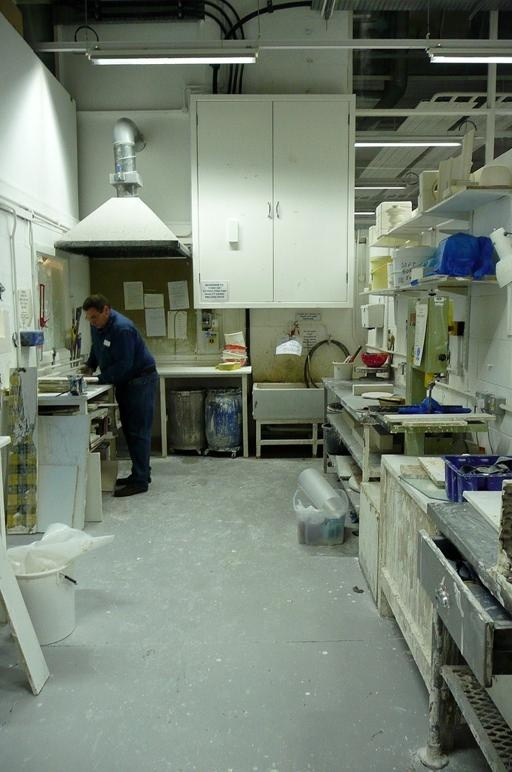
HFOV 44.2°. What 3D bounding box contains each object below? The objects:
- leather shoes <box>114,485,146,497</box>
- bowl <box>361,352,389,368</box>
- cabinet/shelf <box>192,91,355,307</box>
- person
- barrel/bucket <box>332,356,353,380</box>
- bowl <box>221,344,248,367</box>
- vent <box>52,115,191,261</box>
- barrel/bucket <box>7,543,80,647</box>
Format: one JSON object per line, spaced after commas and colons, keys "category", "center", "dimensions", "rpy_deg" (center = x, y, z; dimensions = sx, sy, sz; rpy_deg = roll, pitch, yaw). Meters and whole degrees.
{"category": "leather shoes", "center": [-0.852, 0.700, 4.277], "dimensions": [0.218, 0.095, 0.079], "rpy_deg": [4, -1, -23]}
{"category": "bowl", "center": [0.836, -0.174, 4.417], "dimensions": [0.179, 0.106, 0.156], "rpy_deg": [-3, 7, -16]}
{"category": "cabinet/shelf", "center": [0.112, -1.543, 5.038], "dimensions": [1.523, 2.055, 0.690], "rpy_deg": [0, 3, -1]}
{"category": "person", "center": [-0.916, 0.056, 4.345], "dimensions": [0.448, 1.329, 0.592], "rpy_deg": [-2, 7, -11]}
{"category": "barrel/bucket", "center": [0.646, -0.117, 4.659], "dimensions": [0.119, 0.124, 0.156], "rpy_deg": [0, -2, 2]}
{"category": "bowl", "center": [-0.169, -0.268, 5.337], "dimensions": [0.176, 0.134, 0.182], "rpy_deg": [0, 6, 0]}
{"category": "vent", "center": [-0.966, -1.609, 4.886], "dimensions": [1.017, 1.367, 1.027], "rpy_deg": [0, 7, -4]}
{"category": "barrel/bucket", "center": [-0.735, 0.766, 2.380], "dimensions": [0.301, 0.333, 0.311], "rpy_deg": [-3, 3, 0]}
